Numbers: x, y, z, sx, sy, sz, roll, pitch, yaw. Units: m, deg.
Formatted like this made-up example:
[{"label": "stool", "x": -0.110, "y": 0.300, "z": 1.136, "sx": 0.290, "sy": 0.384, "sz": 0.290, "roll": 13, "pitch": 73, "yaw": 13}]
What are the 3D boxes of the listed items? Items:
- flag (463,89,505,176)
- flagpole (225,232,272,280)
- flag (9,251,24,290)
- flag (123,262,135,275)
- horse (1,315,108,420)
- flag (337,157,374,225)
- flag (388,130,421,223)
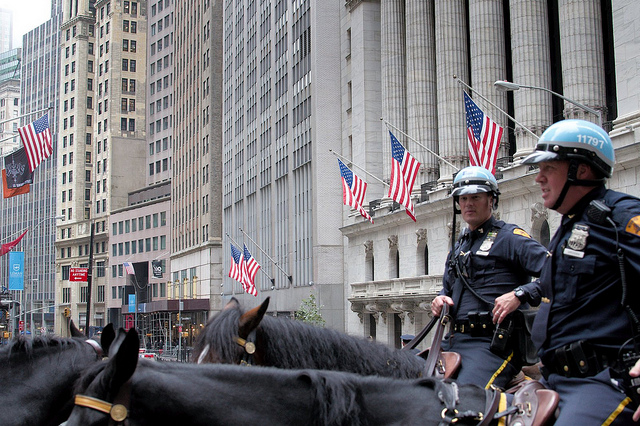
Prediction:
[{"label": "flag", "x": 10.796, "y": -5.504, "z": 74.889, "sx": 2.132, "sy": 5.552, "sz": 1.951, "roll": 9, "pitch": -13, "yaw": -39}, {"label": "flagpole", "x": -6.664, "y": 4.050, "z": 107.924, "sx": 8.430, "sy": 0.528, "sz": 0.196, "roll": 39, "pitch": -32, "yaw": -3}, {"label": "flag", "x": -26.538, "y": 4.997, "z": 97.803, "sx": 1.089, "sy": 3.520, "sz": 3.612, "roll": 4, "pitch": -10, "yaw": -16}, {"label": "flag", "x": -22.700, "y": 6.463, "z": 133.491, "sx": 1.078, "sy": 1.441, "sz": 3.095, "roll": 2, "pitch": -10, "yaw": -9}, {"label": "horse", "x": -11.469, "y": 8.397, "z": 58.194, "sx": 9.662, "sy": 4.773, "sz": 2.381, "roll": 2, "pitch": -9, "yaw": -13}, {"label": "flag", "x": 2.520, "y": -1.770, "z": 85.846, "sx": 1.993, "sy": 5.079, "sz": 2.137, "roll": 8, "pitch": 14, "yaw": 33}, {"label": "flag", "x": 5.794, "y": -2.980, "z": 80.734, "sx": 2.611, "sy": 6.780, "sz": 0.701, "roll": 13, "pitch": 28, "yaw": 28}]
